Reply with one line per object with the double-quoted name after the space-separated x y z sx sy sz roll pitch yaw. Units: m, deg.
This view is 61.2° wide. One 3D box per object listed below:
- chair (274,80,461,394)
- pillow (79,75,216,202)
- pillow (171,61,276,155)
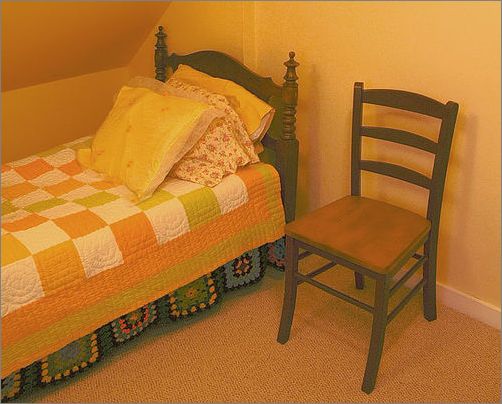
0.520 0.136 1.853 0.588 1.055 0.729 20 37 35 "chair"
-0.664 -0.199 2.200 0.580 0.596 0.146 2 65 51 "pillow"
-0.169 -0.585 2.416 0.617 0.152 0.375 36 53 19 "pillow"
